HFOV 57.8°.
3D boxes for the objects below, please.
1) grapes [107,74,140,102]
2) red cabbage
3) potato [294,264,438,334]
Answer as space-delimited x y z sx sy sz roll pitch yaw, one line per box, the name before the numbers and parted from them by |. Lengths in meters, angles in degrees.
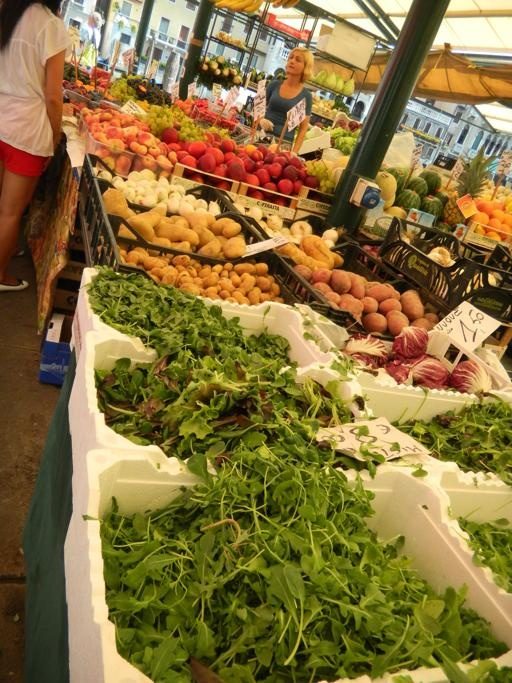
grapes | -1.532 -2.926 5.346 0.321 0.333 0.811 14 22 -23
red cabbage | 0.701 0.089 2.028 0.407 0.161 0.425 -12 22 -34
potato | 0.651 -0.231 2.649 0.538 0.142 0.525 38 21 23
